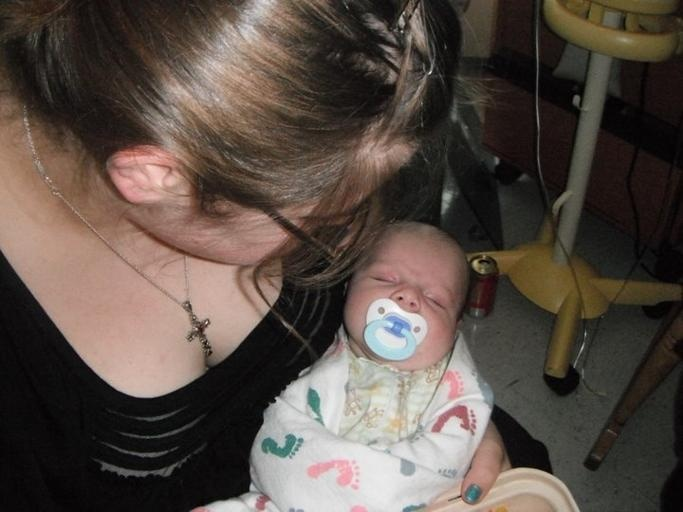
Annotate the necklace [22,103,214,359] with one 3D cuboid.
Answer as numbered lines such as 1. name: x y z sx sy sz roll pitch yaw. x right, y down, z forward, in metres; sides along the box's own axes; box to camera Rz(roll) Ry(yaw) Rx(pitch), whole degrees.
1. necklace: -0.424 -0.012 1.348 0.022 0.586 0.178 -12 14 45
